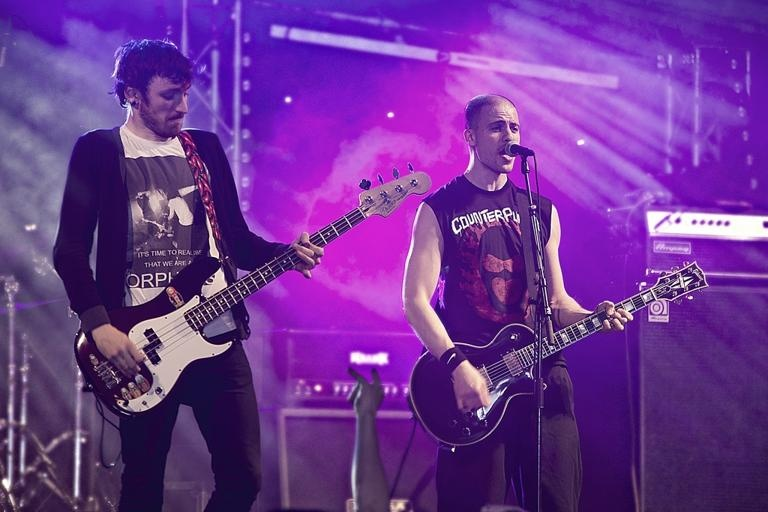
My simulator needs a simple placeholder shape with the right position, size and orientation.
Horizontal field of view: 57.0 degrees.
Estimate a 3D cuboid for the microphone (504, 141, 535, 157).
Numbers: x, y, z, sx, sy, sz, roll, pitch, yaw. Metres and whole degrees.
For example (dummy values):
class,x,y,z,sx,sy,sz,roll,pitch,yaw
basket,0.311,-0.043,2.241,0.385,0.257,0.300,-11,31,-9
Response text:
class,x,y,z,sx,sy,sz,roll,pitch,yaw
microphone,0.886,-0.703,4.686,0.122,0.097,0.253,0,7,-29
